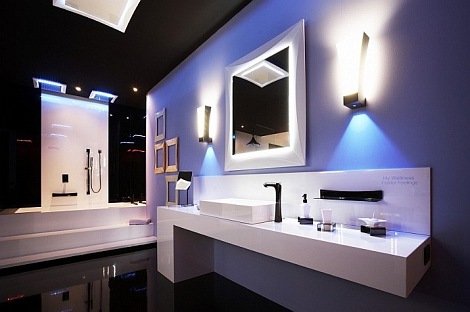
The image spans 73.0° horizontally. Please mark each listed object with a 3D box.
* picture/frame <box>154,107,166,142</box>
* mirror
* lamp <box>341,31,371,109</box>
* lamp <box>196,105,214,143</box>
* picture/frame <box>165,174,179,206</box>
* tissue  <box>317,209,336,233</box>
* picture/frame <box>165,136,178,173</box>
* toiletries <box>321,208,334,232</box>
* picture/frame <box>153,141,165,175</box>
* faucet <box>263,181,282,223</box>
[{"bbox_3d":[-1.351,-0.574,5.783,0.023,0.639,0.609,5,-8,-34],"label":"picture/frame"},{"bbox_3d":[0.388,-0.705,3.761,0.181,1.978,1.794,4,-7,-39],"label":"mirror"},{"bbox_3d":[1.207,-0.840,3.145,0.262,0.748,0.159,0,7,5],"label":"lamp"},{"bbox_3d":[-0.421,-0.442,4.482,0.199,0.530,0.195,-1,7,-4],"label":"lamp"},{"bbox_3d":[-1.036,0.599,5.285,0.032,0.517,0.421,2,-4,-37],"label":"picture/frame"},{"bbox_3d":[0.871,0.607,3.063,0.193,0.229,0.198,0,-3,17],"label":"tissue "},{"bbox_3d":[-1.045,-0.014,5.305,0.046,0.672,0.547,4,-7,-34],"label":"picture/frame"},{"bbox_3d":[0.897,0.609,3.064,0.118,0.195,0.138,1,7,18],"label":"toiletries"},{"bbox_3d":[-1.360,0.044,5.754,0.038,0.599,0.573,2,-5,-31],"label":"picture/frame"},{"bbox_3d":[0.419,0.487,3.410,0.211,0.384,0.220,3,8,29],"label":"faucet"}]
